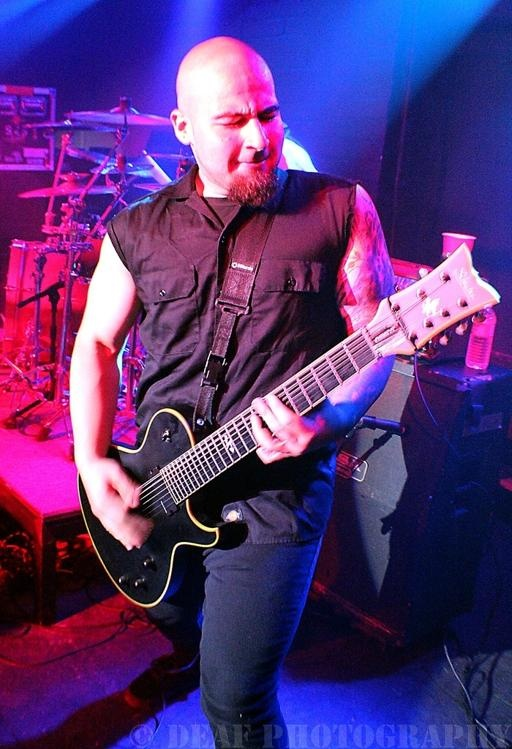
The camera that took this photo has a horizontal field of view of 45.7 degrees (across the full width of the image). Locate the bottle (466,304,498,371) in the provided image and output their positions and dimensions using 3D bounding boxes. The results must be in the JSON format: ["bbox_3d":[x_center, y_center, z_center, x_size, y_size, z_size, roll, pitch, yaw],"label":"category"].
[{"bbox_3d":[0.962,-0.147,2.628,0.114,0.116,0.347,-2,50,32],"label":"bottle"}]

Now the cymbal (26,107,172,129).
[{"bbox_3d":[-1.014,-1.836,4.356,0.530,0.126,0.535,14,25,31],"label":"cymbal"}]

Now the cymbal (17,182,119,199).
[{"bbox_3d":[-1.619,-1.553,5.136,0.626,0.148,0.632,17,25,42],"label":"cymbal"}]

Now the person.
[{"bbox_3d":[-0.069,0.151,1.704,0.501,1.997,0.917,-5,18,-43],"label":"person"}]

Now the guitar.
[{"bbox_3d":[0.127,0.181,1.849,0.563,1.588,0.227,59,25,15],"label":"guitar"}]
